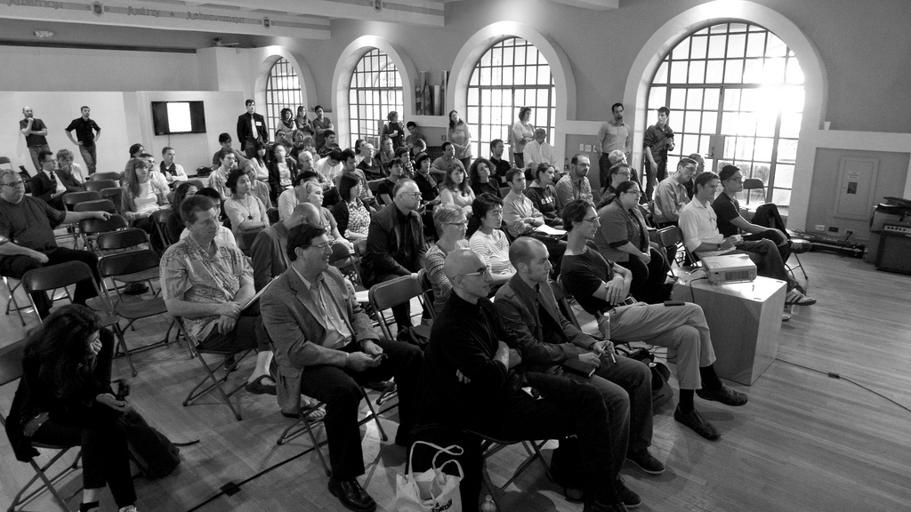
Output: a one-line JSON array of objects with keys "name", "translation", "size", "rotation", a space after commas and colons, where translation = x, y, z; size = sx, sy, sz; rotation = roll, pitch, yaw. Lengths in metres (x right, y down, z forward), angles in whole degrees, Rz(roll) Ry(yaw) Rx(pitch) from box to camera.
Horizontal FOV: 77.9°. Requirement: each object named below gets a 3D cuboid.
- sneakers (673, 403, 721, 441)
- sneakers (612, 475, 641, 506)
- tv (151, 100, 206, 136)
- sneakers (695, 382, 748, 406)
[{"name": "sneakers", "translation": [2.706, 1.885, 6.408], "size": [0.464, 0.184, 0.249], "rotation": [18, 27, 40]}, {"name": "sneakers", "translation": [1.737, 2.375, 5.712], "size": [0.243, 0.286, 0.204], "rotation": [-8, 16, -32]}, {"name": "tv", "translation": [-9.039, -4.494, 18.271], "size": [0.131, 0.796, 1.342], "rotation": [9, 14, 40]}, {"name": "sneakers", "translation": [3.132, 1.623, 6.797], "size": [0.660, 0.256, 0.242], "rotation": [1, 13, 19]}]
